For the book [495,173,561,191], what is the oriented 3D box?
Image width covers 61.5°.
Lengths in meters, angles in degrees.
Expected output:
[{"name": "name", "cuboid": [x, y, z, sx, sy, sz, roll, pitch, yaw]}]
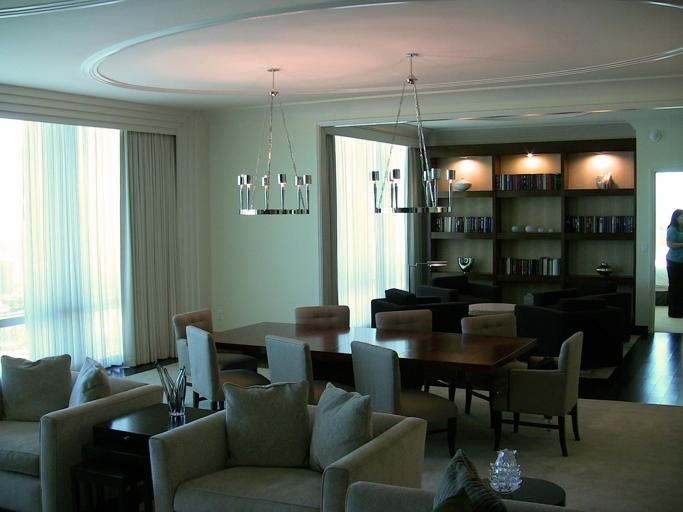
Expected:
[{"name": "book", "cuboid": [3.325, -1.322, 10.181, 1.131, 0.313, 0.149, -1, 4, 23]}]

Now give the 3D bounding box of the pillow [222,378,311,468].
[{"name": "pillow", "cuboid": [-0.479, 1.090, 3.657, 0.526, 0.470, 0.191, -2, -17, 1]}]

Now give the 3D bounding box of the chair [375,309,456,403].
[{"name": "chair", "cuboid": [0.742, 1.043, 5.771, 0.737, 0.992, 0.689, -2, 2, -38]}]

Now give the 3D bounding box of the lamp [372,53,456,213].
[{"name": "lamp", "cuboid": [0.821, -1.332, 6.021, 0.930, 1.619, 0.912, -3, 13, 21]}]

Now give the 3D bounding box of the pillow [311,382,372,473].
[{"name": "pillow", "cuboid": [0.001, 1.044, 3.439, 0.225, 0.395, 0.408, 20, -20, -29]}]

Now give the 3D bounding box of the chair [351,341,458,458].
[{"name": "chair", "cuboid": [0.503, 1.173, 4.763, 0.784, 0.874, 0.738, 1, 0, -43]}]

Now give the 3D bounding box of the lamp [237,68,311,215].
[{"name": "lamp", "cuboid": [-0.773, -1.273, 6.894, 0.994, 1.559, 2.900, -3, 3, -10]}]

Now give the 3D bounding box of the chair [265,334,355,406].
[{"name": "chair", "cuboid": [-0.342, 0.924, 4.949, 0.467, 0.734, 0.595, 3, 5, 43]}]

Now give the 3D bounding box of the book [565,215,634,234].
[{"name": "book", "cuboid": [4.378, -0.536, 9.707, 1.046, 0.329, 0.263, -1, 4, 23]}]

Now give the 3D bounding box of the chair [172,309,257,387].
[{"name": "chair", "cuboid": [-1.286, 1.021, 5.950, 0.790, 0.866, 0.826, -2, 0, -30]}]

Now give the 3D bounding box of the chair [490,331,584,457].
[{"name": "chair", "cuboid": [1.729, 1.200, 5.087, 0.719, 0.878, 0.706, -3, -3, 33]}]
